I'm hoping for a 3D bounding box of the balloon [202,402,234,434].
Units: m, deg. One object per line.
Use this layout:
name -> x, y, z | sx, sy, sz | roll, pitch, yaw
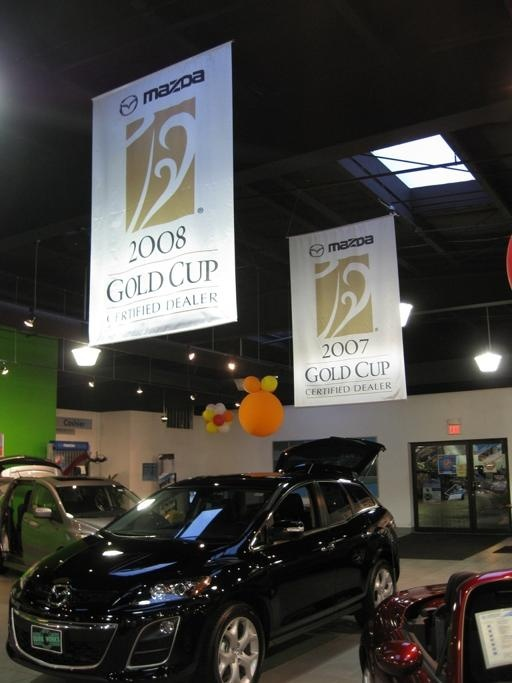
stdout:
balloon -> -1.161, 2.274, 18.221 | 0.980, 0.878, 0.384 | 2, -18, -1
